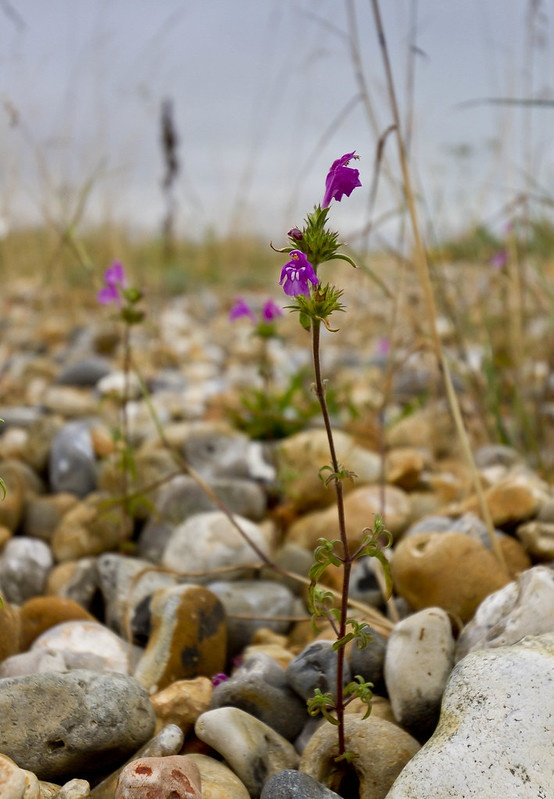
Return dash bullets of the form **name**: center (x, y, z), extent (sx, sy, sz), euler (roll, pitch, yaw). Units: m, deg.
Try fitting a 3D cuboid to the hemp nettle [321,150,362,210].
- **hemp nettle**: center (0.119, -0.411, 1.661), extent (0.079, 0.099, 0.219), euler (-8, 11, 7)
